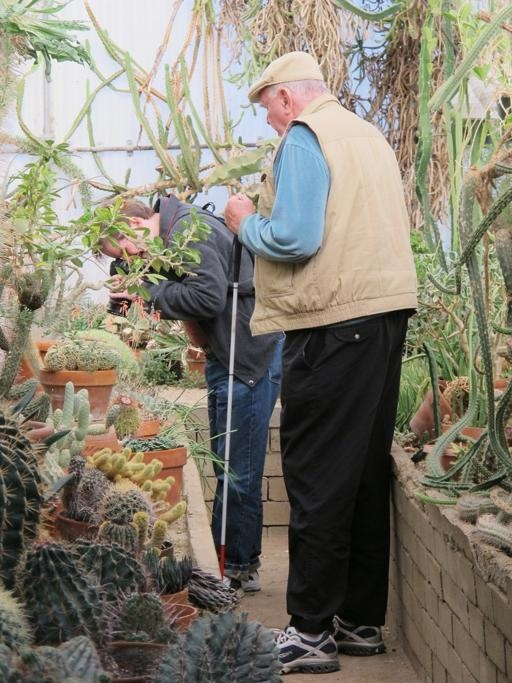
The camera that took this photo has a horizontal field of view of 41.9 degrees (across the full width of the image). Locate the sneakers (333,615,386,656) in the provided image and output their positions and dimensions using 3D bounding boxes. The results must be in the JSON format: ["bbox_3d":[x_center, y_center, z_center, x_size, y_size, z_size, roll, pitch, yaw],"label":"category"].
[{"bbox_3d":[0.351,1.027,2.358,0.250,0.104,0.094,5,-1,12],"label":"sneakers"}]

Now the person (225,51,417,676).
[{"bbox_3d":[0.267,0.049,2.174,0.478,1.994,0.690,-6,-12,37],"label":"person"}]

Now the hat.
[{"bbox_3d":[0.130,-0.890,2.271,0.196,0.117,0.260,-1,3,-39],"label":"hat"}]
